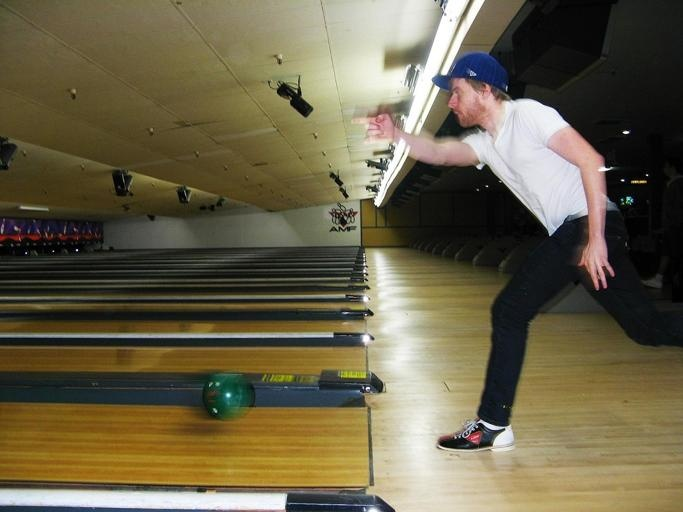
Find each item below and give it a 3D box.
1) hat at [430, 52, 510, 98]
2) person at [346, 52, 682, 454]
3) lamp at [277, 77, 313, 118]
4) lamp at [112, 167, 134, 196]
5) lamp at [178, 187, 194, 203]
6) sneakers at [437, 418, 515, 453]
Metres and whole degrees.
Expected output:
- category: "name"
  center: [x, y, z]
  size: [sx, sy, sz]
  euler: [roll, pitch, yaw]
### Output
- category: "hat"
  center: [0.547, -0.747, 2.065]
  size: [0.290, 0.149, 0.197]
  euler: [16, 14, 8]
- category: "person"
  center: [0.807, -0.041, 2.071]
  size: [1.073, 1.588, 0.470]
  euler: [-1, 2, 6]
- category: "lamp"
  center: [-0.527, -1.718, 5.408]
  size: [0.364, 0.332, 0.409]
  euler: [-1, 2, -10]
- category: "lamp"
  center: [-4.099, -1.368, 9.288]
  size: [0.454, 0.516, 0.450]
  euler: [0, -11, -15]
- category: "lamp"
  center: [-3.942, -1.559, 12.446]
  size: [0.261, 0.253, 0.404]
  euler: [6, -18, -25]
- category: "sneakers"
  center: [0.530, 0.719, 1.992]
  size: [0.341, 0.133, 0.118]
  euler: [0, -11, 4]
